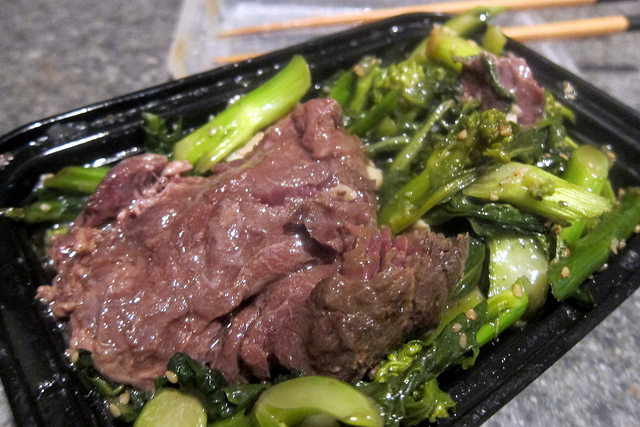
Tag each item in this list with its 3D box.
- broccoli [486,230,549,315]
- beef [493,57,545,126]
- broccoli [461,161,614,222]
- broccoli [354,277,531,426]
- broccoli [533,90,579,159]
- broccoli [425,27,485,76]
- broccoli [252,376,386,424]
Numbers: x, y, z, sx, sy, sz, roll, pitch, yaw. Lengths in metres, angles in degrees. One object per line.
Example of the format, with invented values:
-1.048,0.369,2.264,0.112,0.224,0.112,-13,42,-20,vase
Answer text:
1.427,0.382,4.648,0.422,0.196,0.624,-1,88,2,broccoli
1.580,-0.983,5.198,0.384,0.523,0.395,13,57,13,beef
1.582,-0.151,4.914,1.031,0.261,0.482,18,86,4,broccoli
0.867,0.944,4.529,1.038,0.936,0.809,-1,98,4,broccoli
1.843,-0.691,5.121,0.282,0.458,0.291,-27,64,-9,broccoli
1.084,-1.310,5.323,0.294,0.218,0.491,-38,50,-16,broccoli
-0.035,1.241,4.222,0.817,0.150,0.370,-10,83,-1,broccoli
